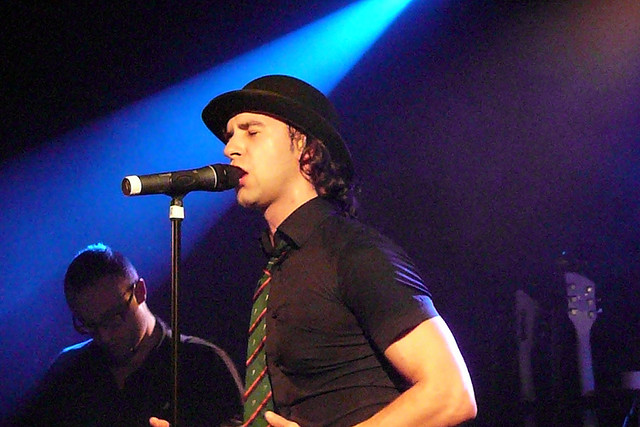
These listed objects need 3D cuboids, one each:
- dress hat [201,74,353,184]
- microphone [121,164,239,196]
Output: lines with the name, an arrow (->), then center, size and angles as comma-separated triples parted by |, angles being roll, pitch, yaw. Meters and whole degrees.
dress hat -> -0.314, -0.752, 5.050 | 1.106, 0.470, 1.007 | 13, -16, 11
microphone -> -0.890, -0.218, 4.191 | 0.732, 0.175, 0.110 | -4, -3, -10
